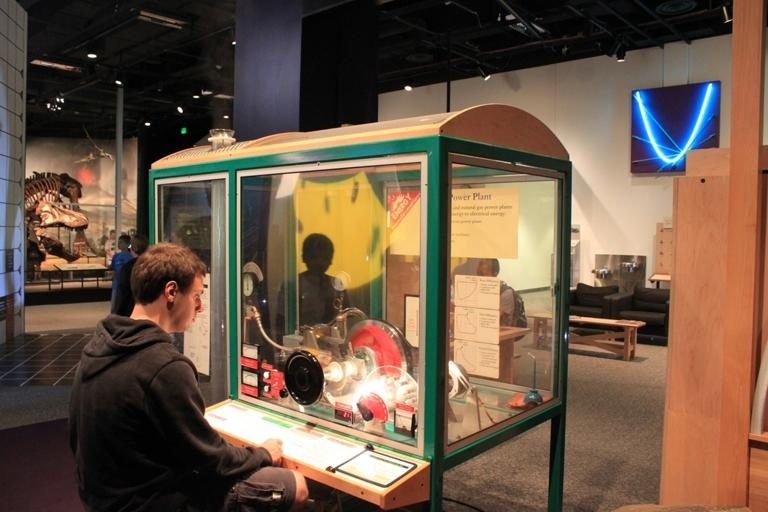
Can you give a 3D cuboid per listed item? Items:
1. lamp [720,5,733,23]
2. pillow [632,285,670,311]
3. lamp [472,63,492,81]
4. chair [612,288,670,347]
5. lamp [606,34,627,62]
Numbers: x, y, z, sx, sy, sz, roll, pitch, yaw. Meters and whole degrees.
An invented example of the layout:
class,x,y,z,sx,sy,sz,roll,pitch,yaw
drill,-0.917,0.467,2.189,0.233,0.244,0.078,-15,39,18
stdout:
class,x,y,z,sx,sy,sz,roll,pitch,yaw
lamp,4.835,-3.396,7.979,0.120,0.160,0.802,6,13,31
pillow,4.227,0.688,8.940,0.233,0.480,0.664,36,-25,-31
lamp,1.837,-3.421,10.494,0.166,0.153,0.324,-39,27,4
chair,4.217,0.922,9.000,0.958,0.835,1.011,1,0,30
lamp,3.624,-3.213,8.764,0.228,0.354,0.356,4,12,25
